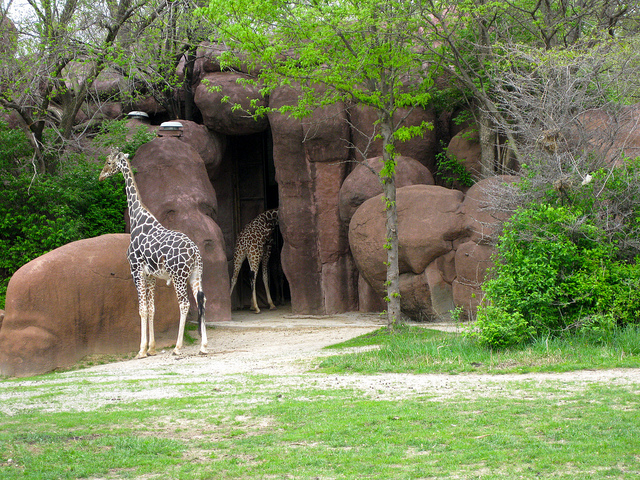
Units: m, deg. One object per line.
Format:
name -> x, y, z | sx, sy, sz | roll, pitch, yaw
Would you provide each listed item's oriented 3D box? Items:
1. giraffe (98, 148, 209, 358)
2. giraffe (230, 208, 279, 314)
giraffe -> -3.537, 0.381, 17.613 | 1.913, 4.236, 3.721 | -6, 14, -14
giraffe -> -2.045, 0.782, 26.381 | 1.373, 3.429, 2.904 | 0, 14, 10
